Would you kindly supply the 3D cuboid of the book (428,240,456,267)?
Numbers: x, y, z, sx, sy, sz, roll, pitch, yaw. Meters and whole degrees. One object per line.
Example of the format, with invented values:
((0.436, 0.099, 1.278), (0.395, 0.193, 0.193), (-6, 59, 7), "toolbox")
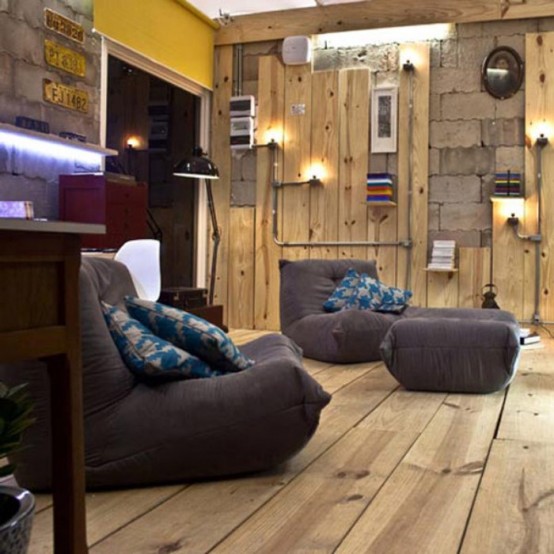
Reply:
((1.662, -0.202, 5.818), (0.175, 0.281, 0.088), (4, -4, 18), "book")

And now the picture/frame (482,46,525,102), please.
((2.212, -1.953, 5.700), (0.364, 0.504, 0.110), (0, 3, 8), "picture/frame")

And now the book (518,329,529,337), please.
((1.783, 0.403, 4.221), (0.098, 0.049, 0.098), (-2, -3, 42), "book")

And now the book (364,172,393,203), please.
((1.037, -0.868, 5.850), (0.223, 0.362, 0.337), (-1, -1, 14), "book")

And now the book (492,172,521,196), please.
((2.206, -0.860, 5.569), (0.225, 0.238, 0.250), (2, 5, 22), "book")
